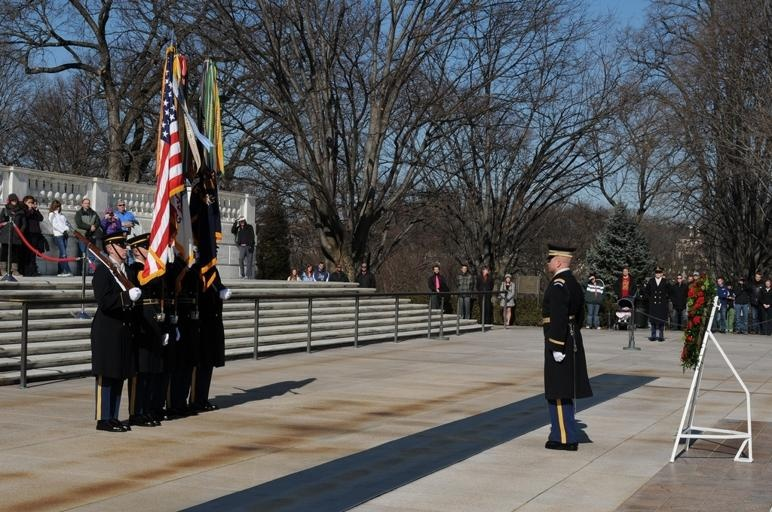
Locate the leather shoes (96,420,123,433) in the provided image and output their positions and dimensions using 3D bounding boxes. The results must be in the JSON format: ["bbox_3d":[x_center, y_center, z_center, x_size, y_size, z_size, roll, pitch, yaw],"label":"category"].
[{"bbox_3d":[-4.441,2.754,15.378,0.483,0.206,0.164,-2,-3,11],"label":"leather shoes"}]

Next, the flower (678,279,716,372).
[{"bbox_3d":[5.074,1.079,15.679,0.569,1.395,0.491,-2,-4,-6],"label":"flower"}]

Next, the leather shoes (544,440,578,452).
[{"bbox_3d":[2.692,2.941,14.849,0.463,0.196,0.175,-2,-1,23],"label":"leather shoes"}]

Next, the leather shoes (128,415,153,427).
[{"bbox_3d":[-4.009,2.726,15.780,0.422,0.177,0.162,2,3,3],"label":"leather shoes"}]

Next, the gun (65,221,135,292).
[{"bbox_3d":[-5.833,-0.026,19.587,0.170,2.346,0.493,-41,6,49],"label":"gun"}]
